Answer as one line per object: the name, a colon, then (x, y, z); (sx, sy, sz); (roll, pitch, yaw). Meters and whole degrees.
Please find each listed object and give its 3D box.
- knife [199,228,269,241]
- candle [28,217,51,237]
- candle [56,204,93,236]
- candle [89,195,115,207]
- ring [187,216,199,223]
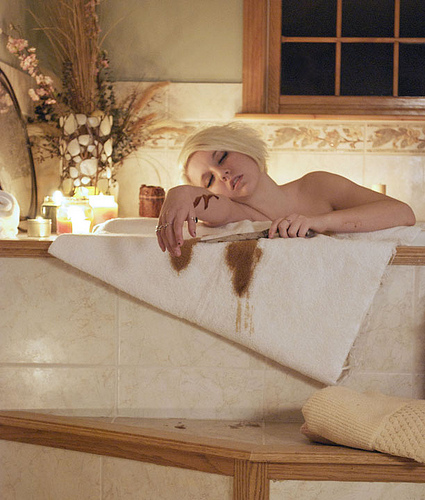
knife: (0.043, -0.027, 1.185); (0.132, 0.021, 0.039); (0, 10, -8)
candle: (-0.396, -0.051, 1.431); (0.049, 0.044, 0.048); (-2, 11, -16)
candle: (-0.335, -0.074, 1.527); (0.109, 0.099, 0.080); (1, 0, 1)
candle: (-0.336, -0.146, 1.883); (0.086, 0.035, 0.042); (2, 2, -34)
ring: (-0.037, -0.061, 1.290); (0.029, 0.012, 0.021); (0, 0, 19)
